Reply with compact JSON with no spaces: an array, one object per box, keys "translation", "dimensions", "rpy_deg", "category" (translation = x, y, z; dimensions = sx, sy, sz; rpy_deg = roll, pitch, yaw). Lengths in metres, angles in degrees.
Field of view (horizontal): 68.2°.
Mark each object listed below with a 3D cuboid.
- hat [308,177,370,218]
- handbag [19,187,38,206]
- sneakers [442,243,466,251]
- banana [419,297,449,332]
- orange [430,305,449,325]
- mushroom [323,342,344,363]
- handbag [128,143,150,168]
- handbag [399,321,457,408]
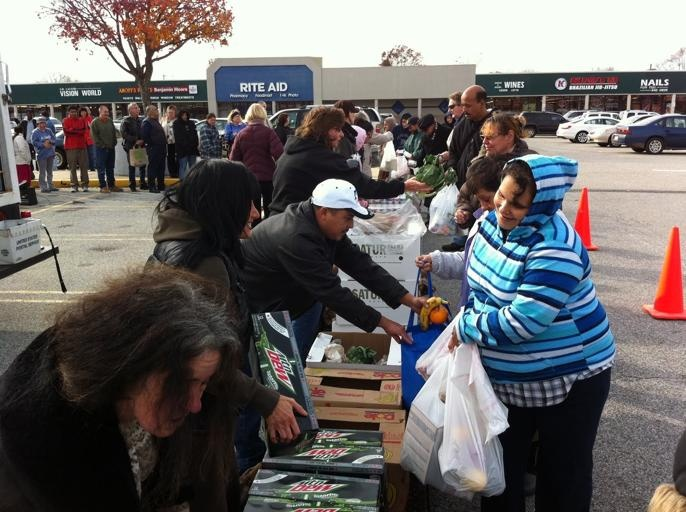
[{"translation":[-0.023,-0.376,3.242],"dimensions":[0.337,0.189,0.220],"rpy_deg":[7,17,-11],"category":"hat"},{"translation":[-3.610,-0.683,5.757],"dimensions":[0.097,0.244,0.265],"rpy_deg":[-8,12,-43],"category":"handbag"},{"translation":[1.629,-0.151,7.485],"dimensions":[0.384,0.168,0.121],"rpy_deg":[9,12,43],"category":"sneakers"},{"translation":[0.581,0.333,3.130],"dimensions":[0.167,0.247,0.143],"rpy_deg":[-20,48,-9],"category":"banana"},{"translation":[0.589,0.365,3.151],"dimensions":[0.111,0.112,0.107],"rpy_deg":[-24,2,-28],"category":"orange"},{"translation":[-0.069,0.679,3.557],"dimensions":[0.107,0.118,0.098],"rpy_deg":[1,-3,38],"category":"mushroom"},{"translation":[-5.220,-2.591,12.855],"dimensions":[0.555,0.737,0.285],"rpy_deg":[1,42,-6],"category":"handbag"},{"translation":[0.479,0.605,2.970],"dimensions":[0.268,0.581,0.393],"rpy_deg":[0,16,6],"category":"handbag"}]
